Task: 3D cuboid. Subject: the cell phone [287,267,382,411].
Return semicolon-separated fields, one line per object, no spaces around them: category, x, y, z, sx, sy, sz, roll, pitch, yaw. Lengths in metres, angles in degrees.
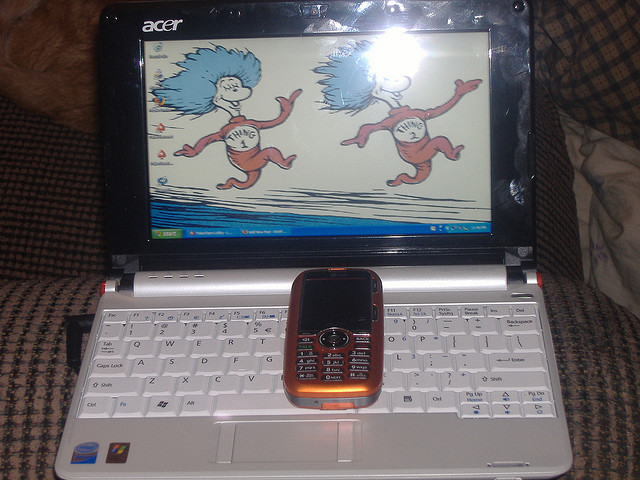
cell phone;0.022;0.123;0.759;0.124;0.194;0.042;4;-38;5
